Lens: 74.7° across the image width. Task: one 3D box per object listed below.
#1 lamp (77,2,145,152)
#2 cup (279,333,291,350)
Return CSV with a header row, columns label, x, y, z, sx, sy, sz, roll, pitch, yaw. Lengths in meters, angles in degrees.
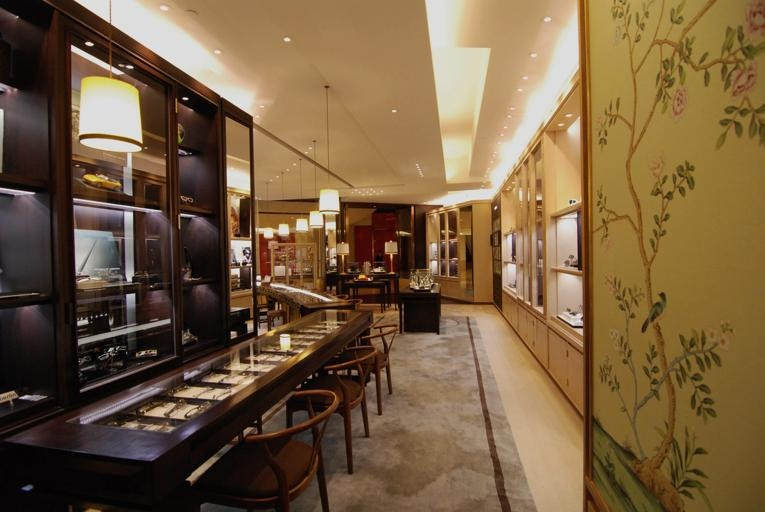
label,x,y,z,sx,sy,sz,roll,pitch,yaw
lamp,-1.620,-1.048,2.920,0.313,0.859,0.523,-5,10,-31
cup,-0.728,0.653,3.735,0.071,0.086,0.075,0,-3,0
